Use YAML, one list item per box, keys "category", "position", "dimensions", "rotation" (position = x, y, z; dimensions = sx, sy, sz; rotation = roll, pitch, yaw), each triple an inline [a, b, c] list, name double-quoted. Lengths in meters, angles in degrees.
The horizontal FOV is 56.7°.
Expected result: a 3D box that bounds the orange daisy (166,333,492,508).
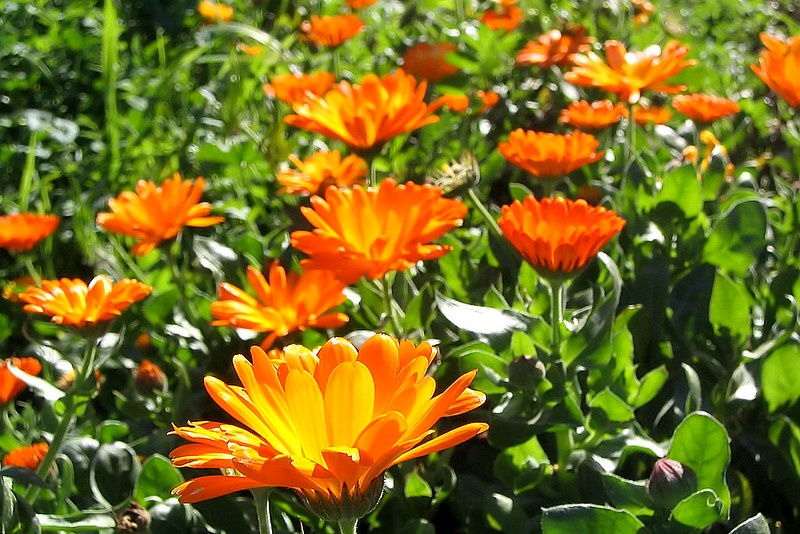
- category: "orange daisy"
  position: [-0.065, 0.193, 0.901]
  dimensions: [0.342, 0.189, 0.367]
  rotation: [-4, 0, -2]
